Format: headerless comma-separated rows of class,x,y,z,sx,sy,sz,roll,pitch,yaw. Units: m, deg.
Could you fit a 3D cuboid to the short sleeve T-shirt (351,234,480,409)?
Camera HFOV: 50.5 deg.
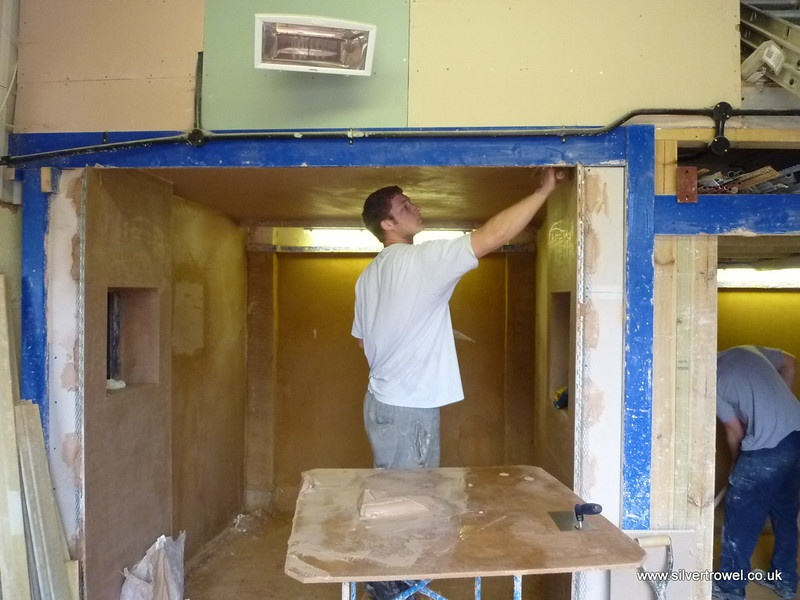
short sleeve T-shirt,0.114,0.107,5.110,0.460,0.943,1.333,-3,-1,-38

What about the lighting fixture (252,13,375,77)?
lighting fixture,-0.451,-1.352,4.486,0.619,0.234,0.287,0,-3,-12

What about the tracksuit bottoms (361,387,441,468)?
tracksuit bottoms,0.022,0.695,4.852,0.460,0.658,0.374,-1,-5,1

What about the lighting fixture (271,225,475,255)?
lighting fixture,-0.571,-0.488,6.835,1.755,0.253,0.371,0,3,0
